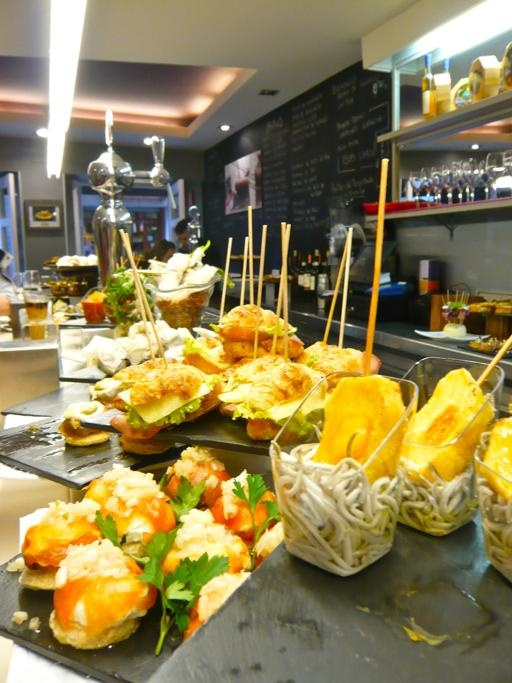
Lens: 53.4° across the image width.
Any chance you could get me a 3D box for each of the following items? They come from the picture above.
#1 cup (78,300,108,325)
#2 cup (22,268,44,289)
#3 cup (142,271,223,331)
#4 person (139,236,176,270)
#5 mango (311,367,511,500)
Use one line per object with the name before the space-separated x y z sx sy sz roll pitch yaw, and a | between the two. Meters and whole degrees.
cup | -0.550 -0.099 1.723 0.102 0.113 0.099 -1 4 0
cup | -0.809 -0.222 1.838 0.062 0.081 0.299 -10 9 -23
cup | -0.206 -0.111 1.464 0.210 0.152 0.192 -2 24 1
person | -0.984 -0.907 5.116 0.303 0.335 1.510 -8 8 -9
mango | 0.134 0.083 0.435 0.119 0.050 0.091 -22 34 35
